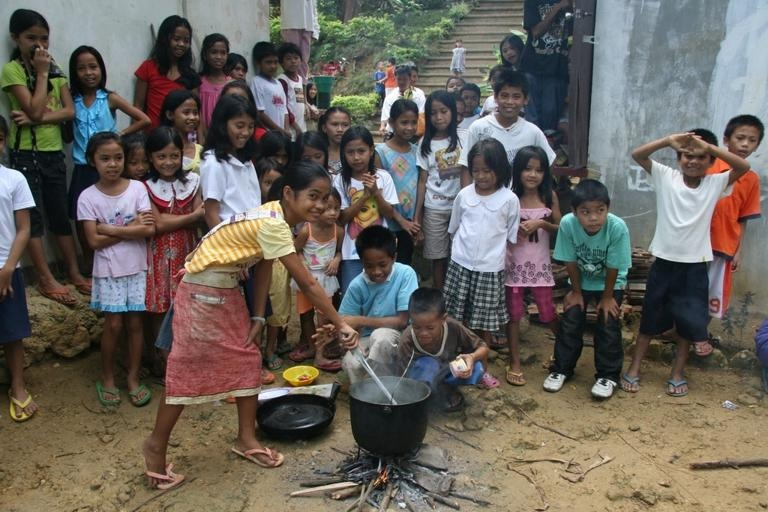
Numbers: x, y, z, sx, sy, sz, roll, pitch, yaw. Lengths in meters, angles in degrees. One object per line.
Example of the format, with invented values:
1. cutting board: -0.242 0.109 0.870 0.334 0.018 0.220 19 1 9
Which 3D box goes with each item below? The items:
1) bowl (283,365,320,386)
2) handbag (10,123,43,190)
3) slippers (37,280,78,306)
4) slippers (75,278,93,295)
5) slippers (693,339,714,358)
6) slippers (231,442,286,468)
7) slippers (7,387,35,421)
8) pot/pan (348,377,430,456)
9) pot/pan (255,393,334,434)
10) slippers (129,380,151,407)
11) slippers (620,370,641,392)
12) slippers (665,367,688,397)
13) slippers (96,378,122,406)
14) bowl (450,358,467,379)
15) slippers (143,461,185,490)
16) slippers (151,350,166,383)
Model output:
1. bowl: -0.821 1.196 7.045 0.332 0.148 0.275 1 13 2
2. handbag: -3.436 -0.966 6.999 0.267 0.592 0.241 3 -10 -6
3. slippers: -3.214 0.369 7.084 0.386 0.156 0.183 14 40 3
4. slippers: -3.040 0.295 7.280 0.316 0.087 0.130 15 19 37
5. slippers: 3.349 0.964 7.524 0.195 0.152 0.194 6 15 21
6. slippers: -1.068 1.725 6.172 0.354 0.093 0.175 10 21 24
7. slippers: -3.305 1.387 6.551 0.221 0.198 0.189 -6 15 -25
8. pot/pan: 0.047 1.394 6.085 0.673 0.587 0.539 0 14 -4
9. pot/pan: -0.792 1.423 6.474 0.688 0.365 0.492 -1 14 -8
10. slippers: -2.331 1.323 6.840 0.217 0.173 0.184 -3 14 -14
11. slippers: 2.446 1.243 7.100 0.197 0.154 0.192 4 14 11
12. slippers: 2.884 1.234 7.031 0.202 0.224 0.235 7 15 22
13. slippers: -2.630 1.300 6.796 0.277 0.196 0.150 9 16 28
14. bowl: 0.680 1.012 6.460 0.153 0.174 0.132 12 18 37
15. slippers: -1.826 1.827 5.978 0.309 0.126 0.164 -9 16 -30
16. slippers: -2.240 1.103 7.198 0.272 0.264 0.068 -8 -12 27
